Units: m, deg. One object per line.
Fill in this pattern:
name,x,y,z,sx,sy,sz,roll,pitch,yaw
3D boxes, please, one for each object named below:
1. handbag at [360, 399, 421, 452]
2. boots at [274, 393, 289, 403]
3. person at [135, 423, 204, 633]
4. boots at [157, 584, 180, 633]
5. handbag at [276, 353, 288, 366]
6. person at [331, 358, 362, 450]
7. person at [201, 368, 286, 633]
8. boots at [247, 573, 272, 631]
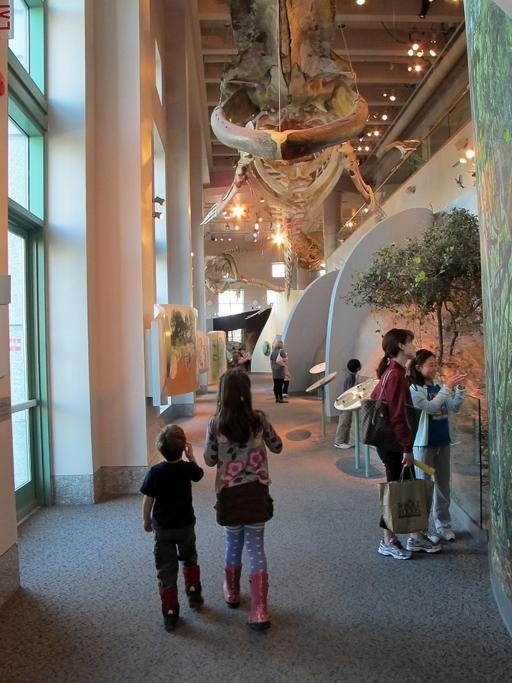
handbag,0.849,0.520,3.197,0.354,0.338,0.239,1,-1,19
boots,0.564,1.312,11.733,0.321,0.224,0.137,-6,-1,20
person,-0.423,0.901,2.612,0.292,0.957,0.326,-2,-2,-12
boots,-0.425,1.278,2.539,0.082,0.213,0.176,-2,-2,-7
handbag,0.512,0.405,10.841,0.180,0.245,0.454,-3,-2,16
person,1.182,0.828,6.720,0.385,1.156,1.503,-3,-2,10
person,-0.061,0.752,2.535,0.344,1.226,0.312,-3,-2,17
boots,0.007,1.224,2.468,0.094,0.247,0.129,-2,-2,-6
